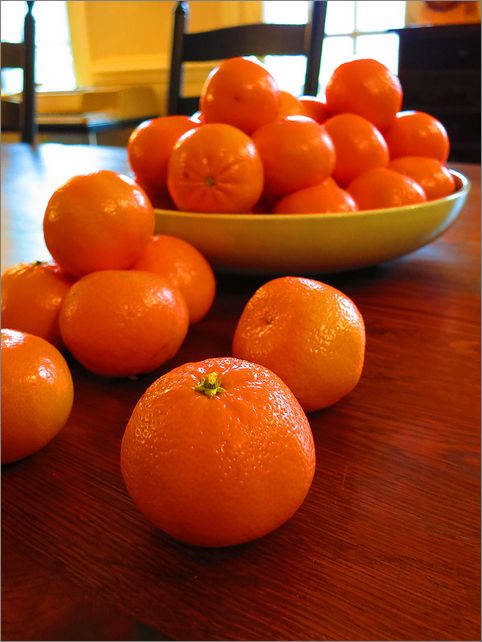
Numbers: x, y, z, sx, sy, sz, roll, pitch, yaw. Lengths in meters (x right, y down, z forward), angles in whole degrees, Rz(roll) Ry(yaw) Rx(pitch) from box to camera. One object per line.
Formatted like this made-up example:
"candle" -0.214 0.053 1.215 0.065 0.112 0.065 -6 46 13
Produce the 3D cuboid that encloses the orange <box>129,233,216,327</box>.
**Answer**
"orange" -0.046 -0.035 0.466 0.072 0.080 0.068 -2 8 -5

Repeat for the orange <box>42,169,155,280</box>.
"orange" -0.103 -0.067 0.457 0.077 0.085 0.077 17 29 8

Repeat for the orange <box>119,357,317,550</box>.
"orange" -0.011 0.055 0.262 0.083 0.060 0.079 -13 37 -29

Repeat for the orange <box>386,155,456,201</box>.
"orange" 0.192 -0.161 0.635 0.065 0.049 0.049 28 33 21

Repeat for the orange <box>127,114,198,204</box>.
"orange" -0.071 -0.178 0.630 0.079 0.081 0.077 1 37 3

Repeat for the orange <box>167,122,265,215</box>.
"orange" -0.030 -0.130 0.555 0.086 0.084 0.084 5 -9 31

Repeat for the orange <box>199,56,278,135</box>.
"orange" -0.002 -0.213 0.542 0.079 0.076 0.071 2 22 12

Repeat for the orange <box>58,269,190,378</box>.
"orange" -0.083 0.002 0.401 0.082 0.067 0.072 -3 13 -9

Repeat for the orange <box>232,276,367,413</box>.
"orange" 0.040 0.019 0.400 0.079 0.082 0.064 22 0 38

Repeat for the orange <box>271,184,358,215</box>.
"orange" 0.069 -0.107 0.516 0.055 0.032 0.040 -6 18 16

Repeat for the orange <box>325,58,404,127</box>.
"orange" 0.131 -0.253 0.665 0.078 0.083 0.078 9 10 4

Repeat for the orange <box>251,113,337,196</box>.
"orange" 0.050 -0.157 0.580 0.076 0.069 0.069 8 46 -5

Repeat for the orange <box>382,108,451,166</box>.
"orange" 0.198 -0.205 0.684 0.064 0.073 0.062 8 0 -33

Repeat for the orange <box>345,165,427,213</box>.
"orange" 0.137 -0.125 0.544 0.062 0.033 0.047 12 4 6
